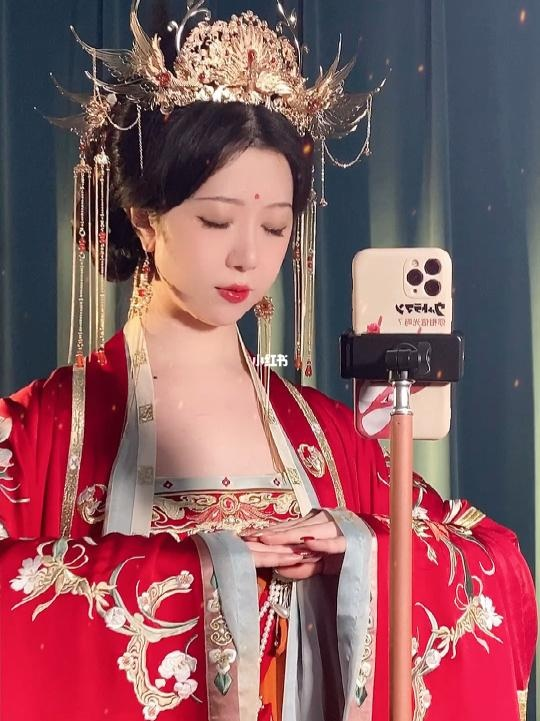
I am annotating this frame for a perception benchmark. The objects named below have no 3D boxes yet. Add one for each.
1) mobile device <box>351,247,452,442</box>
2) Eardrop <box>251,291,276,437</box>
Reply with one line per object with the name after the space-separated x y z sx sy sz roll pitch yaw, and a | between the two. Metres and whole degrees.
0.153 -0.019 1.363 0.116 0.238 0.025 -1 -16 10 | mobile device
-0.009 -0.016 1.996 0.029 0.195 0.030 0 7 7 | Eardrop
